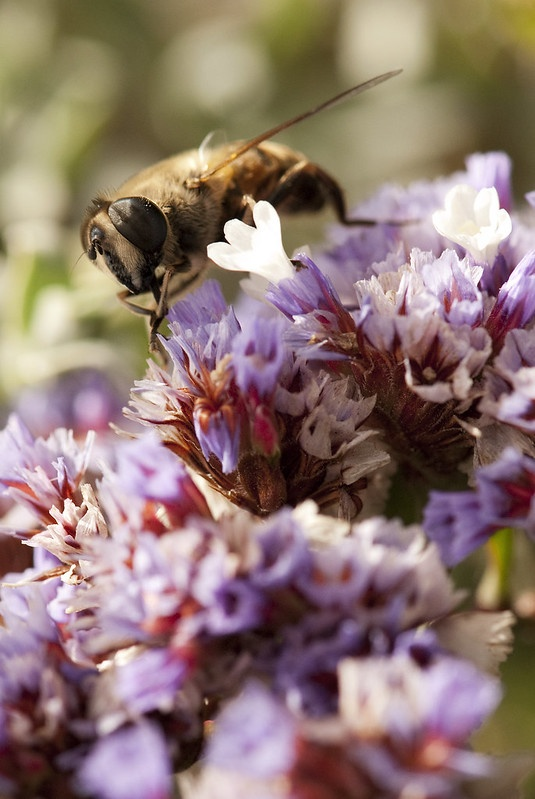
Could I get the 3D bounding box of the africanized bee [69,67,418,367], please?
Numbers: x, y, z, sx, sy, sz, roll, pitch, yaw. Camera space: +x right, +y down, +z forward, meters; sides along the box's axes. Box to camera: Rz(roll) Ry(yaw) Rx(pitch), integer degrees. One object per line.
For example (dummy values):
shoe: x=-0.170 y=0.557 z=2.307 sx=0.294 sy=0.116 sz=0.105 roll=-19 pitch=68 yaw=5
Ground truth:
africanized bee: x=-0.066 y=-0.235 z=0.971 sx=0.377 sy=0.167 sz=0.444 roll=-35 pitch=26 yaw=-26
